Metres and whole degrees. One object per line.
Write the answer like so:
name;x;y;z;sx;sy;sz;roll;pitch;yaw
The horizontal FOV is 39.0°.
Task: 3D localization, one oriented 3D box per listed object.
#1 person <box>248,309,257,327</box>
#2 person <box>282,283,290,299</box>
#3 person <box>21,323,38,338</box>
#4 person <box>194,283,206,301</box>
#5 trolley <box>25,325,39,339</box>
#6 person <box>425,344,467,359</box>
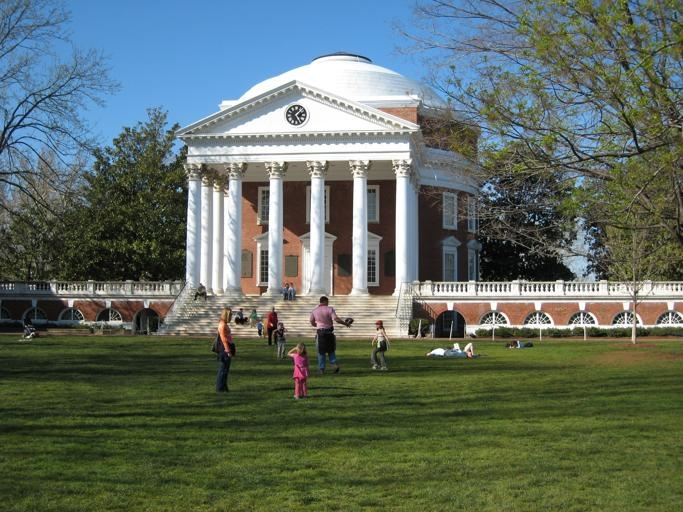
person;-4.409;3.179;48.530;0.373;0.848;1.071;-1;2;-7
person;-3.046;2.010;53.978;0.379;0.977;0.634;-1;2;-6
person;-15.673;3.803;48.310;0.865;0.563;1.114;1;-12;-13
person;-7.992;2.111;55.159;0.704;1.140;0.849;1;-15;-3
trolley;-14.542;3.620;44.839;0.764;0.746;0.675;-1;-1;13
person;4.017;3.687;35.946;1.123;0.298;0.628;-4;-2;0
